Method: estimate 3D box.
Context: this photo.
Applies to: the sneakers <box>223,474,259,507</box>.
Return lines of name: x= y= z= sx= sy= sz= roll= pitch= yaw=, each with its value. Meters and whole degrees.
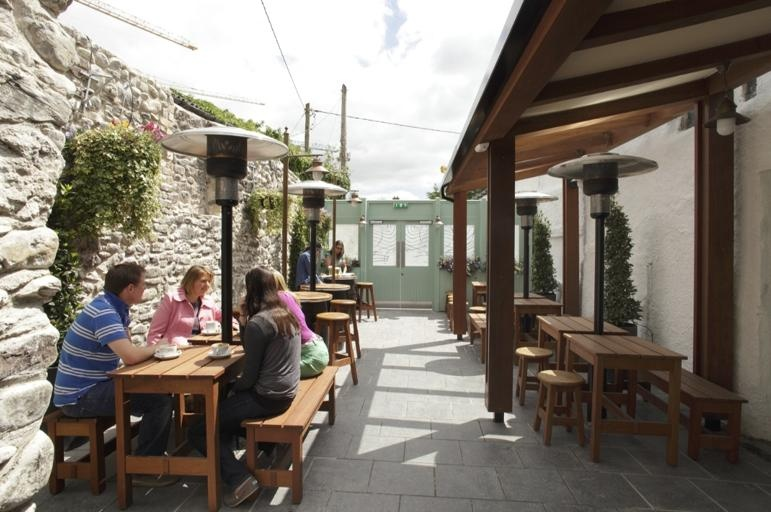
sneakers: x=-1.321 y=2.202 z=5.245 sx=0.434 sy=0.167 sz=0.159 roll=-38 pitch=-31 yaw=2

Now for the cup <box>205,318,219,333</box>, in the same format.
cup: x=-1.993 y=0.838 z=6.520 sx=0.123 sy=0.115 sz=0.160 roll=-5 pitch=-9 yaw=30

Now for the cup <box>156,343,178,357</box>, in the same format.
cup: x=-2.153 y=0.931 z=5.508 sx=0.150 sy=0.066 sz=0.148 roll=-2 pitch=1 yaw=0

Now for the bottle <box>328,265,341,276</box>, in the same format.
bottle: x=-1.141 y=0.364 z=12.507 sx=0.280 sy=0.293 sz=0.279 roll=0 pitch=-9 yaw=-2

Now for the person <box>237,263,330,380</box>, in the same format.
person: x=-0.877 y=0.763 z=6.087 sx=1.106 sy=1.223 sz=1.093 roll=-2 pitch=-5 yaw=-1

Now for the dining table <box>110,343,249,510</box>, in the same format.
dining table: x=-1.988 y=1.657 z=5.400 sx=1.069 sy=1.261 sz=0.842 roll=1 pitch=12 yaw=1

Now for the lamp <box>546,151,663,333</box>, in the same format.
lamp: x=2.544 y=-0.029 z=6.644 sx=1.366 sy=2.201 sz=1.287 roll=3 pitch=-4 yaw=8

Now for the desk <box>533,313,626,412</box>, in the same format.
desk: x=2.471 y=1.320 z=7.258 sx=0.695 sy=0.611 sz=1.262 roll=-1 pitch=3 yaw=-1

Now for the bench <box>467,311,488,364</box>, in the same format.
bench: x=1.489 y=1.332 z=8.993 sx=0.298 sy=0.357 sz=1.024 roll=1 pitch=0 yaw=4

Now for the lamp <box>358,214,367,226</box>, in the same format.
lamp: x=-0.594 y=-0.945 z=14.698 sx=0.228 sy=0.212 sz=0.225 roll=1 pitch=-3 yaw=3

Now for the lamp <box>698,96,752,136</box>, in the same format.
lamp: x=3.635 y=-1.541 z=5.952 sx=0.381 sy=0.492 sz=0.376 roll=0 pitch=15 yaw=37
